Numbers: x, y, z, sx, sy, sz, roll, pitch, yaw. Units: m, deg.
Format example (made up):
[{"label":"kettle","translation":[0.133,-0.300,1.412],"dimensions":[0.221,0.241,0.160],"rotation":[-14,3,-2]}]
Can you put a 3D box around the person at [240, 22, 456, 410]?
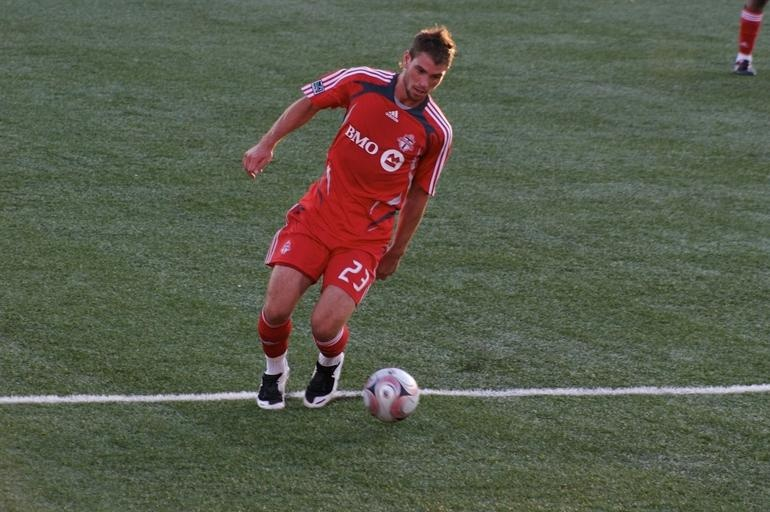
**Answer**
[{"label":"person","translation":[-0.377,-0.331,12.440],"dimensions":[1.001,2.966,1.495],"rotation":[25,30,33]}]

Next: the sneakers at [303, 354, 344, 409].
[{"label":"sneakers","translation":[-0.466,1.025,12.509],"dimensions":[0.230,0.503,0.220],"rotation":[20,-17,13]}]

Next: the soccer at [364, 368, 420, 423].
[{"label":"soccer","translation":[0.081,1.109,12.523],"dimensions":[0.563,0.408,0.484],"rotation":[3,21,4]}]
